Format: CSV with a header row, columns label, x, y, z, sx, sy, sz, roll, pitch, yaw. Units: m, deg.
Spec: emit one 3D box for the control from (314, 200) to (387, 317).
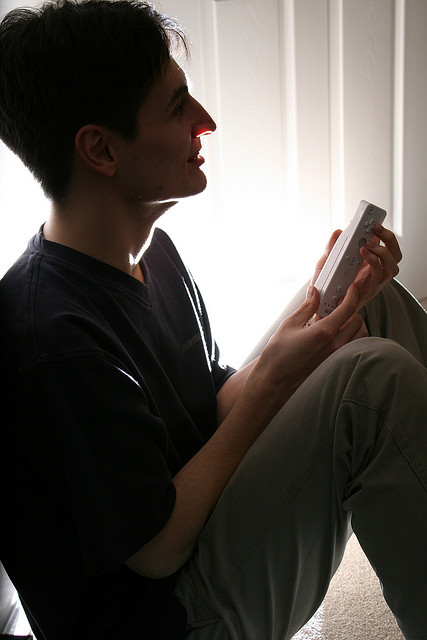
label,x,y,z,sx,sy,sz,roll,pitch,yaw
control,0.209,-0.100,0.846,0.039,0.202,0.104,23,8,-6
